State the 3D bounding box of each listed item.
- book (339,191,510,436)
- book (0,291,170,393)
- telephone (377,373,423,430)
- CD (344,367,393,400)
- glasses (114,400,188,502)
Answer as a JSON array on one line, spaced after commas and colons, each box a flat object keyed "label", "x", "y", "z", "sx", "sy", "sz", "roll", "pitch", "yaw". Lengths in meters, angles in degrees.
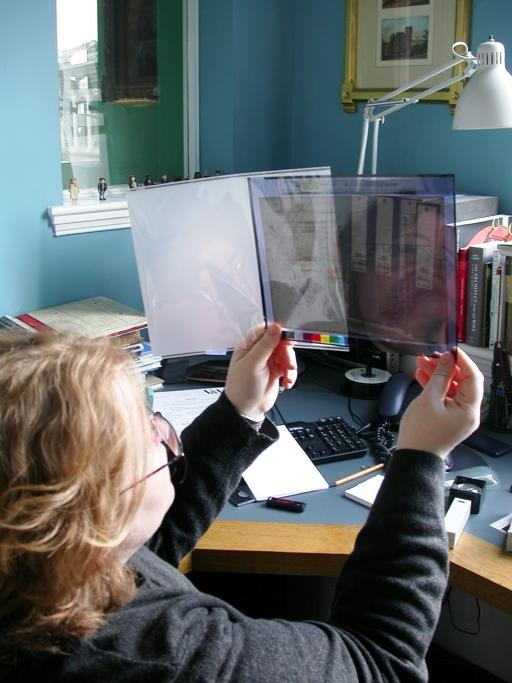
[{"label": "book", "x": 0.489, "y": 0.004, "z": 1.794, "sx": 0.438, "sy": 0.846, "sz": 0.843, "roll": 2, "pitch": 10, "yaw": 16}, {"label": "book", "x": -0.395, "y": -0.021, "z": 1.401, "sx": 0.261, "sy": 0.106, "sz": 0.345, "roll": -13, "pitch": 30, "yaw": -29}, {"label": "telephone", "x": 0.331, "y": 0.133, "z": 1.324, "sx": 0.074, "sy": 0.049, "sz": 0.140, "roll": 9, "pitch": 59, "yaw": 29}, {"label": "CD", "x": 0.292, "y": 0.097, "z": 1.476, "sx": 0.090, "sy": 0.036, "sz": 0.092, "roll": 4, "pitch": 20, "yaw": 19}, {"label": "glasses", "x": -0.090, "y": 0.108, "z": 0.581, "sx": 0.079, "sy": 0.026, "sz": 0.079, "roll": -29, "pitch": 6, "yaw": -1}]
